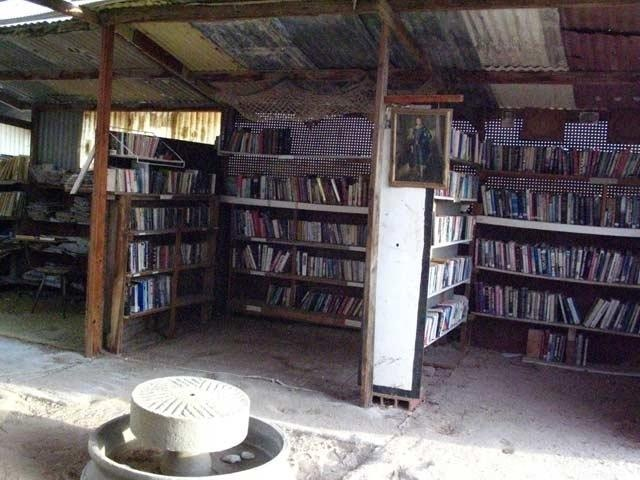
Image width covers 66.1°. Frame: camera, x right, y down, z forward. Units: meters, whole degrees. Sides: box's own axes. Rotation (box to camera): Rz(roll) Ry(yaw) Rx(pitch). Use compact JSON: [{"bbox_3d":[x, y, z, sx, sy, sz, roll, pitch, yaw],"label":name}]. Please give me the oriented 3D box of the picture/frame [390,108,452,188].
[{"bbox_3d":[0.955,-0.886,4.625,0.724,0.924,0.101,3,7,16],"label":"picture/frame"}]
